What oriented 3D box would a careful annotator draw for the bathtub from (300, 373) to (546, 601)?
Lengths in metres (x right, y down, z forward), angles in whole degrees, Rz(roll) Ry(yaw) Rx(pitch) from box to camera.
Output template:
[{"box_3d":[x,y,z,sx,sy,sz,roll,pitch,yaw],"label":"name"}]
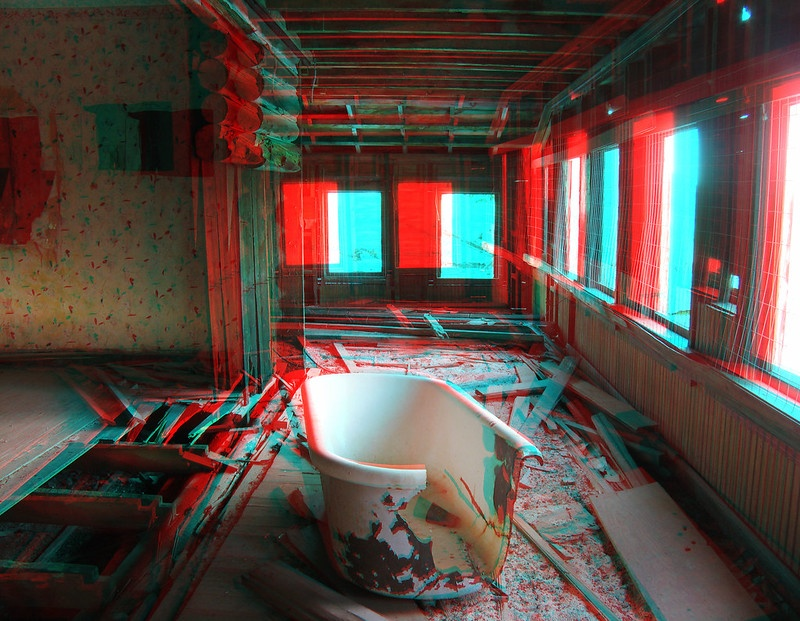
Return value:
[{"box_3d":[-0.015,0.748,2.417,0.955,1.306,0.486,8,-86,-12],"label":"bathtub"}]
